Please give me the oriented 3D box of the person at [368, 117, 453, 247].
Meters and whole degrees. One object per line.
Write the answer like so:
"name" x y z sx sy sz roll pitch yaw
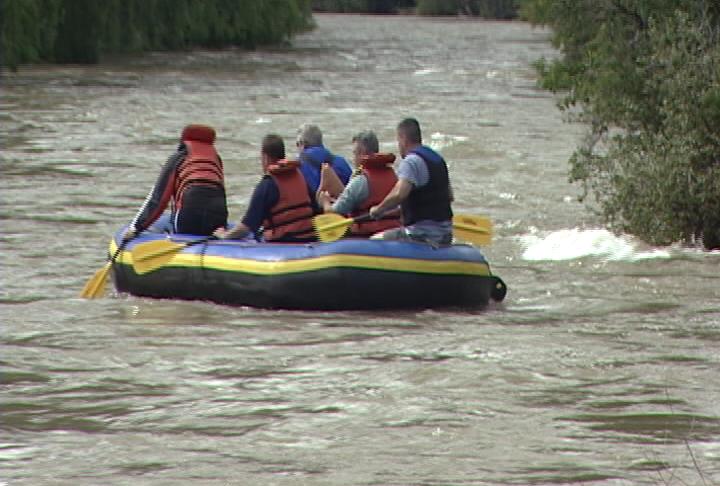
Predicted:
"person" 0.785 -0.882 23.451 1.142 1.851 0.575 -1 19 2

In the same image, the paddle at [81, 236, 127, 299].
"paddle" -3.767 0.285 24.174 0.323 0.087 1.442 16 52 13
